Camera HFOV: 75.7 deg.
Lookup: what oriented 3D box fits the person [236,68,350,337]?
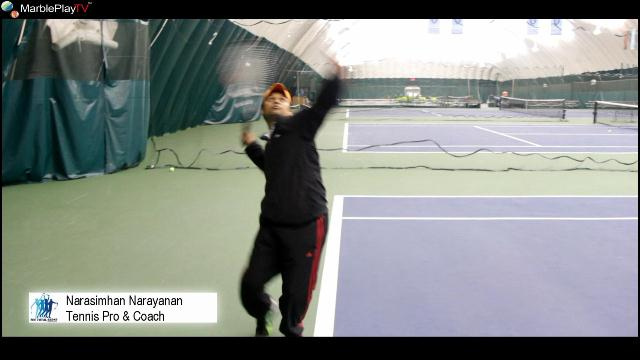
[{"bbox_3d":[-0.329,0.261,4.037,0.972,2.484,0.987,-3,5,-11],"label":"person"}]

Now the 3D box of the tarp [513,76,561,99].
[{"bbox_3d":[15.998,-6.669,31.052,3.349,1.872,1.777,2,-4,20],"label":"tarp"}]

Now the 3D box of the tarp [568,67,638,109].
[{"bbox_3d":[17.173,-5.607,25.495,3.366,2.264,2.043,3,6,43],"label":"tarp"}]
